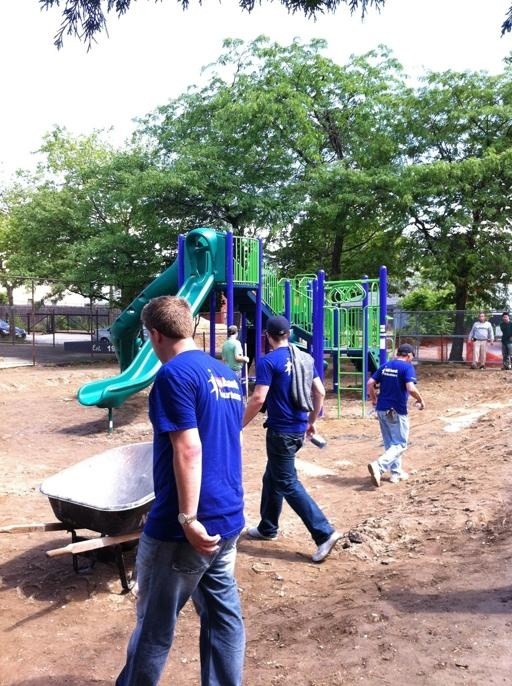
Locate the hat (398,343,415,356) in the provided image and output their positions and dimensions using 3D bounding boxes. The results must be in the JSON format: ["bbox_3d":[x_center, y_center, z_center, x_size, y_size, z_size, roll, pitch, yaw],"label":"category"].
[{"bbox_3d":[1.593,0.073,7.585,0.124,0.101,0.188,13,15,34],"label":"hat"}]

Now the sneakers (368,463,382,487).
[{"bbox_3d":[1.215,1.334,7.345,0.133,0.274,0.097,-16,6,-27],"label":"sneakers"}]

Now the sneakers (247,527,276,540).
[{"bbox_3d":[0.036,1.581,5.879,0.231,0.091,0.090,10,1,17],"label":"sneakers"}]

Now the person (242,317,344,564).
[{"bbox_3d":[0.247,0.725,5.308,0.591,1.865,0.956,-6,5,3],"label":"person"}]

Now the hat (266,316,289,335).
[{"bbox_3d":[0.160,-0.124,5.255,0.160,0.153,0.180,-5,4,1],"label":"hat"}]

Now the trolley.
[{"bbox_3d":[-1.023,1.093,4.991,0.739,0.646,1.395,9,18,31],"label":"trolley"}]

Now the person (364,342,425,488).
[{"bbox_3d":[1.453,0.758,7.491,0.580,1.453,0.687,-5,5,13],"label":"person"}]

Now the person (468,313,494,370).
[{"bbox_3d":[6.369,-0.069,20.144,0.632,1.571,0.801,-4,5,17],"label":"person"}]

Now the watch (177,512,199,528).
[{"bbox_3d":[-0.282,0.718,2.888,0.056,0.038,0.065,-2,-7,23],"label":"watch"}]
